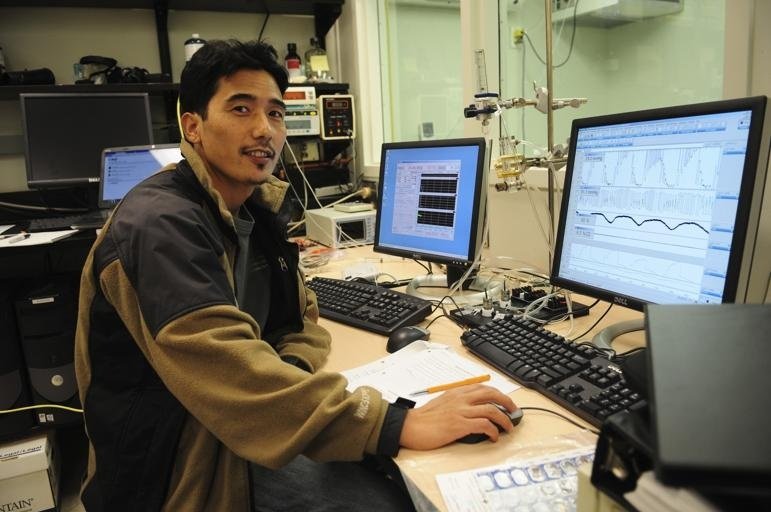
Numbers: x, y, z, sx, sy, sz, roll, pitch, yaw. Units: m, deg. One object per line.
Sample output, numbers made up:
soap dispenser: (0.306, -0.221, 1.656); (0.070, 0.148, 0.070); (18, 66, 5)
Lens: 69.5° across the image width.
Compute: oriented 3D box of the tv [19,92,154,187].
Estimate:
tv: (-1.530, -0.589, 2.823); (0.707, 0.486, 0.071); (-5, 12, -17)

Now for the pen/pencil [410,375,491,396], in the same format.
pen/pencil: (0.176, 0.341, 1.459); (0.183, 0.018, 0.019); (-8, 11, -8)

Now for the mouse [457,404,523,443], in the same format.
mouse: (0.258, 0.413, 1.334); (0.150, 0.038, 0.076); (-29, 45, -20)

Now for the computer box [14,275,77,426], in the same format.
computer box: (-1.582, 0.435, 2.638); (0.369, 0.564, 0.361); (-10, 19, -42)

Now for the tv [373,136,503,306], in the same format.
tv: (0.202, -0.125, 2.101); (0.626, 0.630, 0.408); (8, 13, 43)

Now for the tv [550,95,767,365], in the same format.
tv: (0.719, -0.139, 1.525); (0.145, 0.558, 0.516); (-13, 19, -38)
